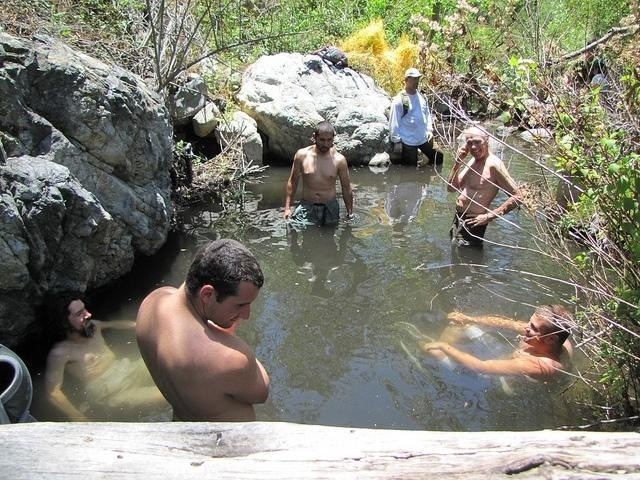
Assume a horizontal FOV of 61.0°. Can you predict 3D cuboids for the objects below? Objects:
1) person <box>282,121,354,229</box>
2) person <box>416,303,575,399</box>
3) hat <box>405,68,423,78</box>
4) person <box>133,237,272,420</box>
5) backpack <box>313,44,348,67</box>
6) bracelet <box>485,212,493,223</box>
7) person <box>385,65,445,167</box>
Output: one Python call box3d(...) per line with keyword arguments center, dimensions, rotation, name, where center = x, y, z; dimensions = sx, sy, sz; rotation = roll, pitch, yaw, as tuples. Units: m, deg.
box3d(center=(-0.022, -1.063, 8.511), dimensions=(1.048, 1.555, 1.199), rotation=(1, 13, 0), name="person")
box3d(center=(1.806, 0.946, 5.575), dimensions=(1.362, 0.751, 0.998), rotation=(16, 14, 27), name="person")
box3d(center=(1.884, -3.378, 11.002), dimensions=(0.256, 0.215, 0.541), rotation=(4, 14, 12), name="hat")
box3d(center=(-0.853, 0.726, 3.983), dimensions=(0.949, 1.435, 0.508), rotation=(1, 13, 0), name="person")
box3d(center=(0.299, -4.394, 12.968), dimensions=(0.659, 0.254, 0.557), rotation=(32, 42, -7), name="backpack")
box3d(center=(2.205, -0.293, 7.029), dimensions=(0.050, 0.126, 0.128), rotation=(11, -6, -2), name="bracelet")
box3d(center=(2.102, -2.294, 11.728), dimensions=(1.126, 2.720, 0.738), rotation=(-9, 31, -3), name="person")
